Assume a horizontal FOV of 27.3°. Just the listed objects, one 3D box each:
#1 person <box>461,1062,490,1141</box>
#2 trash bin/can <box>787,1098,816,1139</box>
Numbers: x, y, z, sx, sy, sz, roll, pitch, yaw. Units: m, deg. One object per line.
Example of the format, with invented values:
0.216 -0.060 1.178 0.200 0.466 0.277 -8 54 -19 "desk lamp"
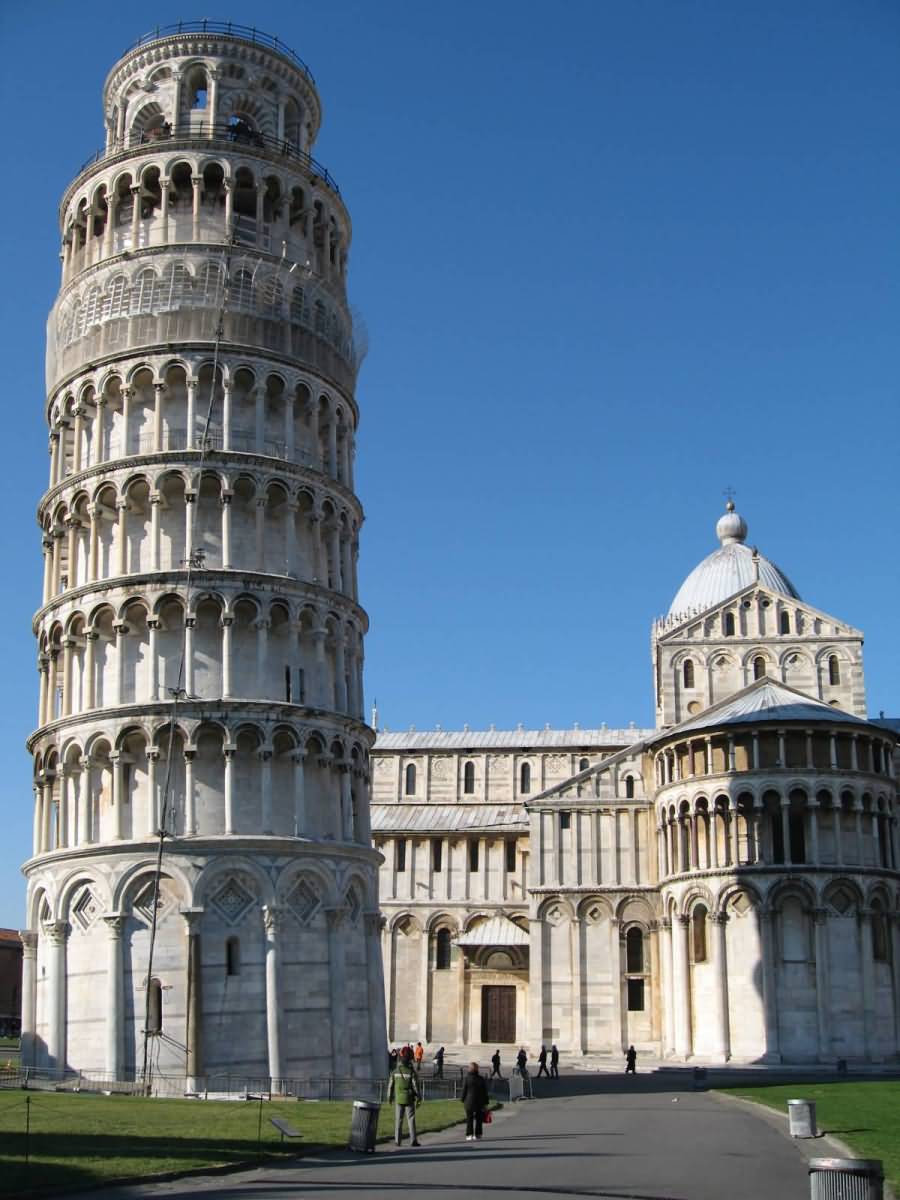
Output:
0.569 11.564 42.659 0.494 1.671 0.941 -3 -17 -1 "person"
8.164 12.024 43.025 0.745 1.013 0.793 -4 -10 34 "trash bin/can"
